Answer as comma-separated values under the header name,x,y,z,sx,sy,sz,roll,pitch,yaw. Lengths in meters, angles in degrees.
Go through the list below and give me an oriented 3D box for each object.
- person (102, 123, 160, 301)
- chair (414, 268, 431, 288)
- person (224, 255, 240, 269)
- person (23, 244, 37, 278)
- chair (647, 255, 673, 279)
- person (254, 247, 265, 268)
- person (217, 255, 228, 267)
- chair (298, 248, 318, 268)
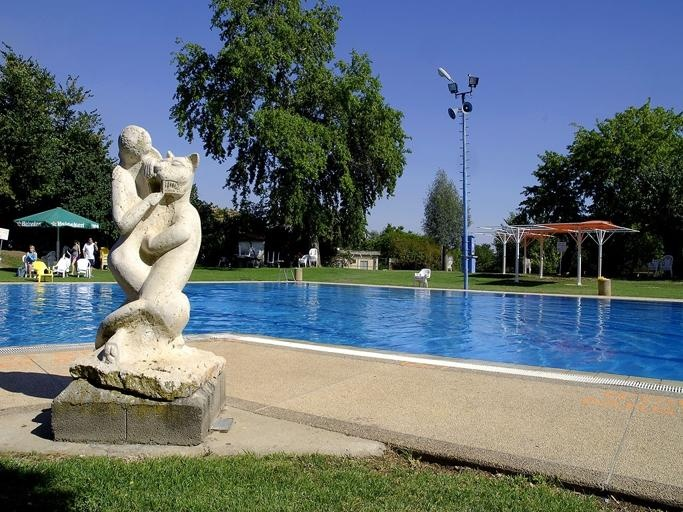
name,x,y,z,sx,sy,sz,roll,pitch,yaw
person,-2.459,-0.508,6.288,0.650,2.087,0.522,0,2,-8
chair,4.261,1.170,28.441,0.812,1.226,1.012,-2,-4,31
person,-9.038,0.422,43.089,0.863,0.965,0.486,-1,2,3
person,-15.394,0.267,26.016,0.488,1.553,2.482,0,2,-31
chair,22.197,0.669,36.680,1.464,1.459,2.176,2,2,33
person,-6.531,-0.020,41.899,0.625,1.544,0.449,0,2,-14
person,-9.804,0.463,43.476,0.754,1.597,0.793,5,-8,-24
chair,-2.302,0.059,38.965,1.434,2.056,1.100,1,-1,-19
